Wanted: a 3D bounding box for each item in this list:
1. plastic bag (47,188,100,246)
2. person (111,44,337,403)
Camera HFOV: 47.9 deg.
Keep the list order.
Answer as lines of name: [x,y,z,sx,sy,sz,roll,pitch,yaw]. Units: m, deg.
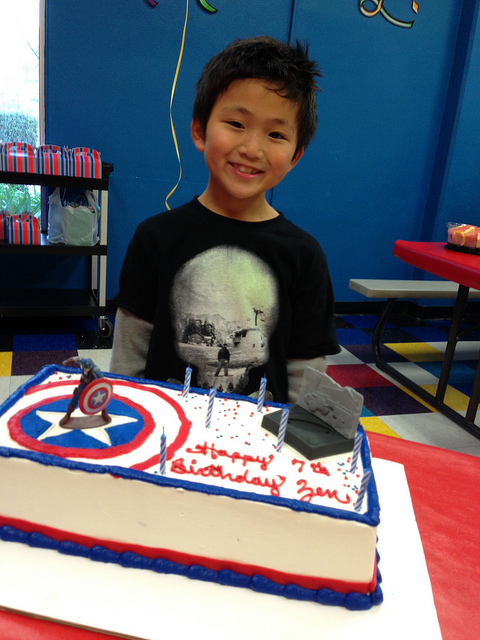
plastic bag: [-0.901,-0.553,2.900,0.280,0.292,0.219,2,14,-10]
person: [-0.043,-0.158,1.105,0.502,0.760,0.393,8,14,13]
